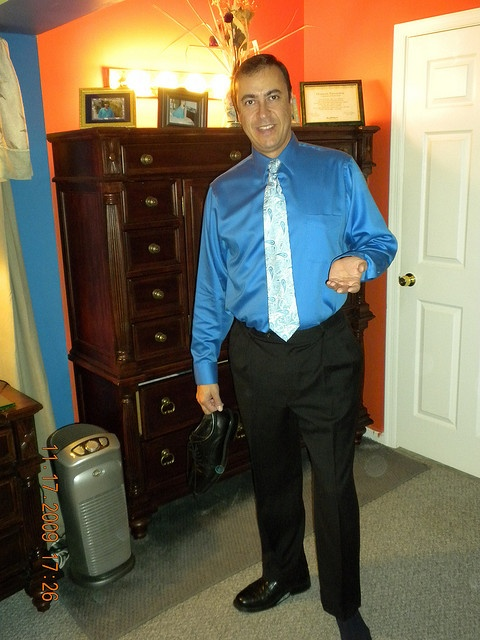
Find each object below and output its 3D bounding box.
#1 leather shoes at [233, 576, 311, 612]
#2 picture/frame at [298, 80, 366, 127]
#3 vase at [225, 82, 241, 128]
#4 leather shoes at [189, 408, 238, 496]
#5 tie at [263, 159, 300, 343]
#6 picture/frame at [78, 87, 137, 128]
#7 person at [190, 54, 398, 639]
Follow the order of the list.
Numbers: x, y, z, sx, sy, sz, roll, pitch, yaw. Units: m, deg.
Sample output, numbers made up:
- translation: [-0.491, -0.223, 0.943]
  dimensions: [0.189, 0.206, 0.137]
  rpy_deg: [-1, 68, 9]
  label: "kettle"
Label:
- translation: [0.129, 0.940, 1.742]
  dimensions: [0.279, 0.119, 0.101]
  rpy_deg: [-6, 15, -14]
  label: "leather shoes"
- translation: [0.451, -1.060, 2.383]
  dimensions: [0.349, 0.248, 0.027]
  rpy_deg: [-3, -3, -7]
  label: "picture/frame"
- translation: [-0.027, -1.001, 2.223]
  dimensions: [0.080, 0.237, 0.078]
  rpy_deg: [0, 7, -6]
  label: "vase"
- translation: [-0.090, 0.408, 1.607]
  dimensions: [0.143, 0.301, 0.126]
  rpy_deg: [4, 16, -38]
  label: "leather shoes"
- translation: [0.105, -0.187, 1.283]
  dimensions: [0.074, 0.478, 0.119]
  rpy_deg: [-4, 9, -1]
  label: "tie"
- translation: [-0.505, -0.810, 1.854]
  dimensions: [0.256, 0.177, 0.012]
  rpy_deg: [-3, 8, -12]
  label: "picture/frame"
- translation: [0.170, 0.155, 1.393]
  dimensions: [0.333, 1.732, 0.675]
  rpy_deg: [-10, 11, -36]
  label: "person"
